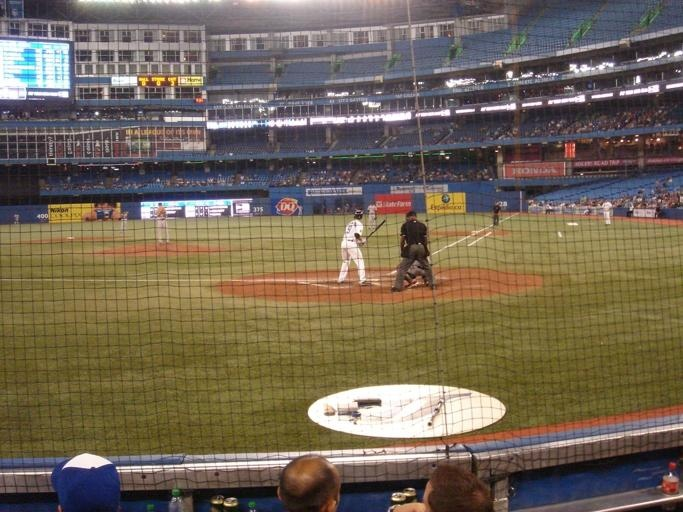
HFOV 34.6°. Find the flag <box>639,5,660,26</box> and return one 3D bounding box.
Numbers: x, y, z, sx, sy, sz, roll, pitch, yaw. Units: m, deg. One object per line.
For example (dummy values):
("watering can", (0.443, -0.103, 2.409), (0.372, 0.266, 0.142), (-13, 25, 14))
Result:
("flag", (22.477, -17.409, 79.473), (1.033, 0.856, 4.212), (-33, 0, 5))

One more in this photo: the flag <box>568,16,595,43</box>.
("flag", (18.263, -17.053, 83.009), (1.713, 1.870, 2.550), (1, 13, 11))
